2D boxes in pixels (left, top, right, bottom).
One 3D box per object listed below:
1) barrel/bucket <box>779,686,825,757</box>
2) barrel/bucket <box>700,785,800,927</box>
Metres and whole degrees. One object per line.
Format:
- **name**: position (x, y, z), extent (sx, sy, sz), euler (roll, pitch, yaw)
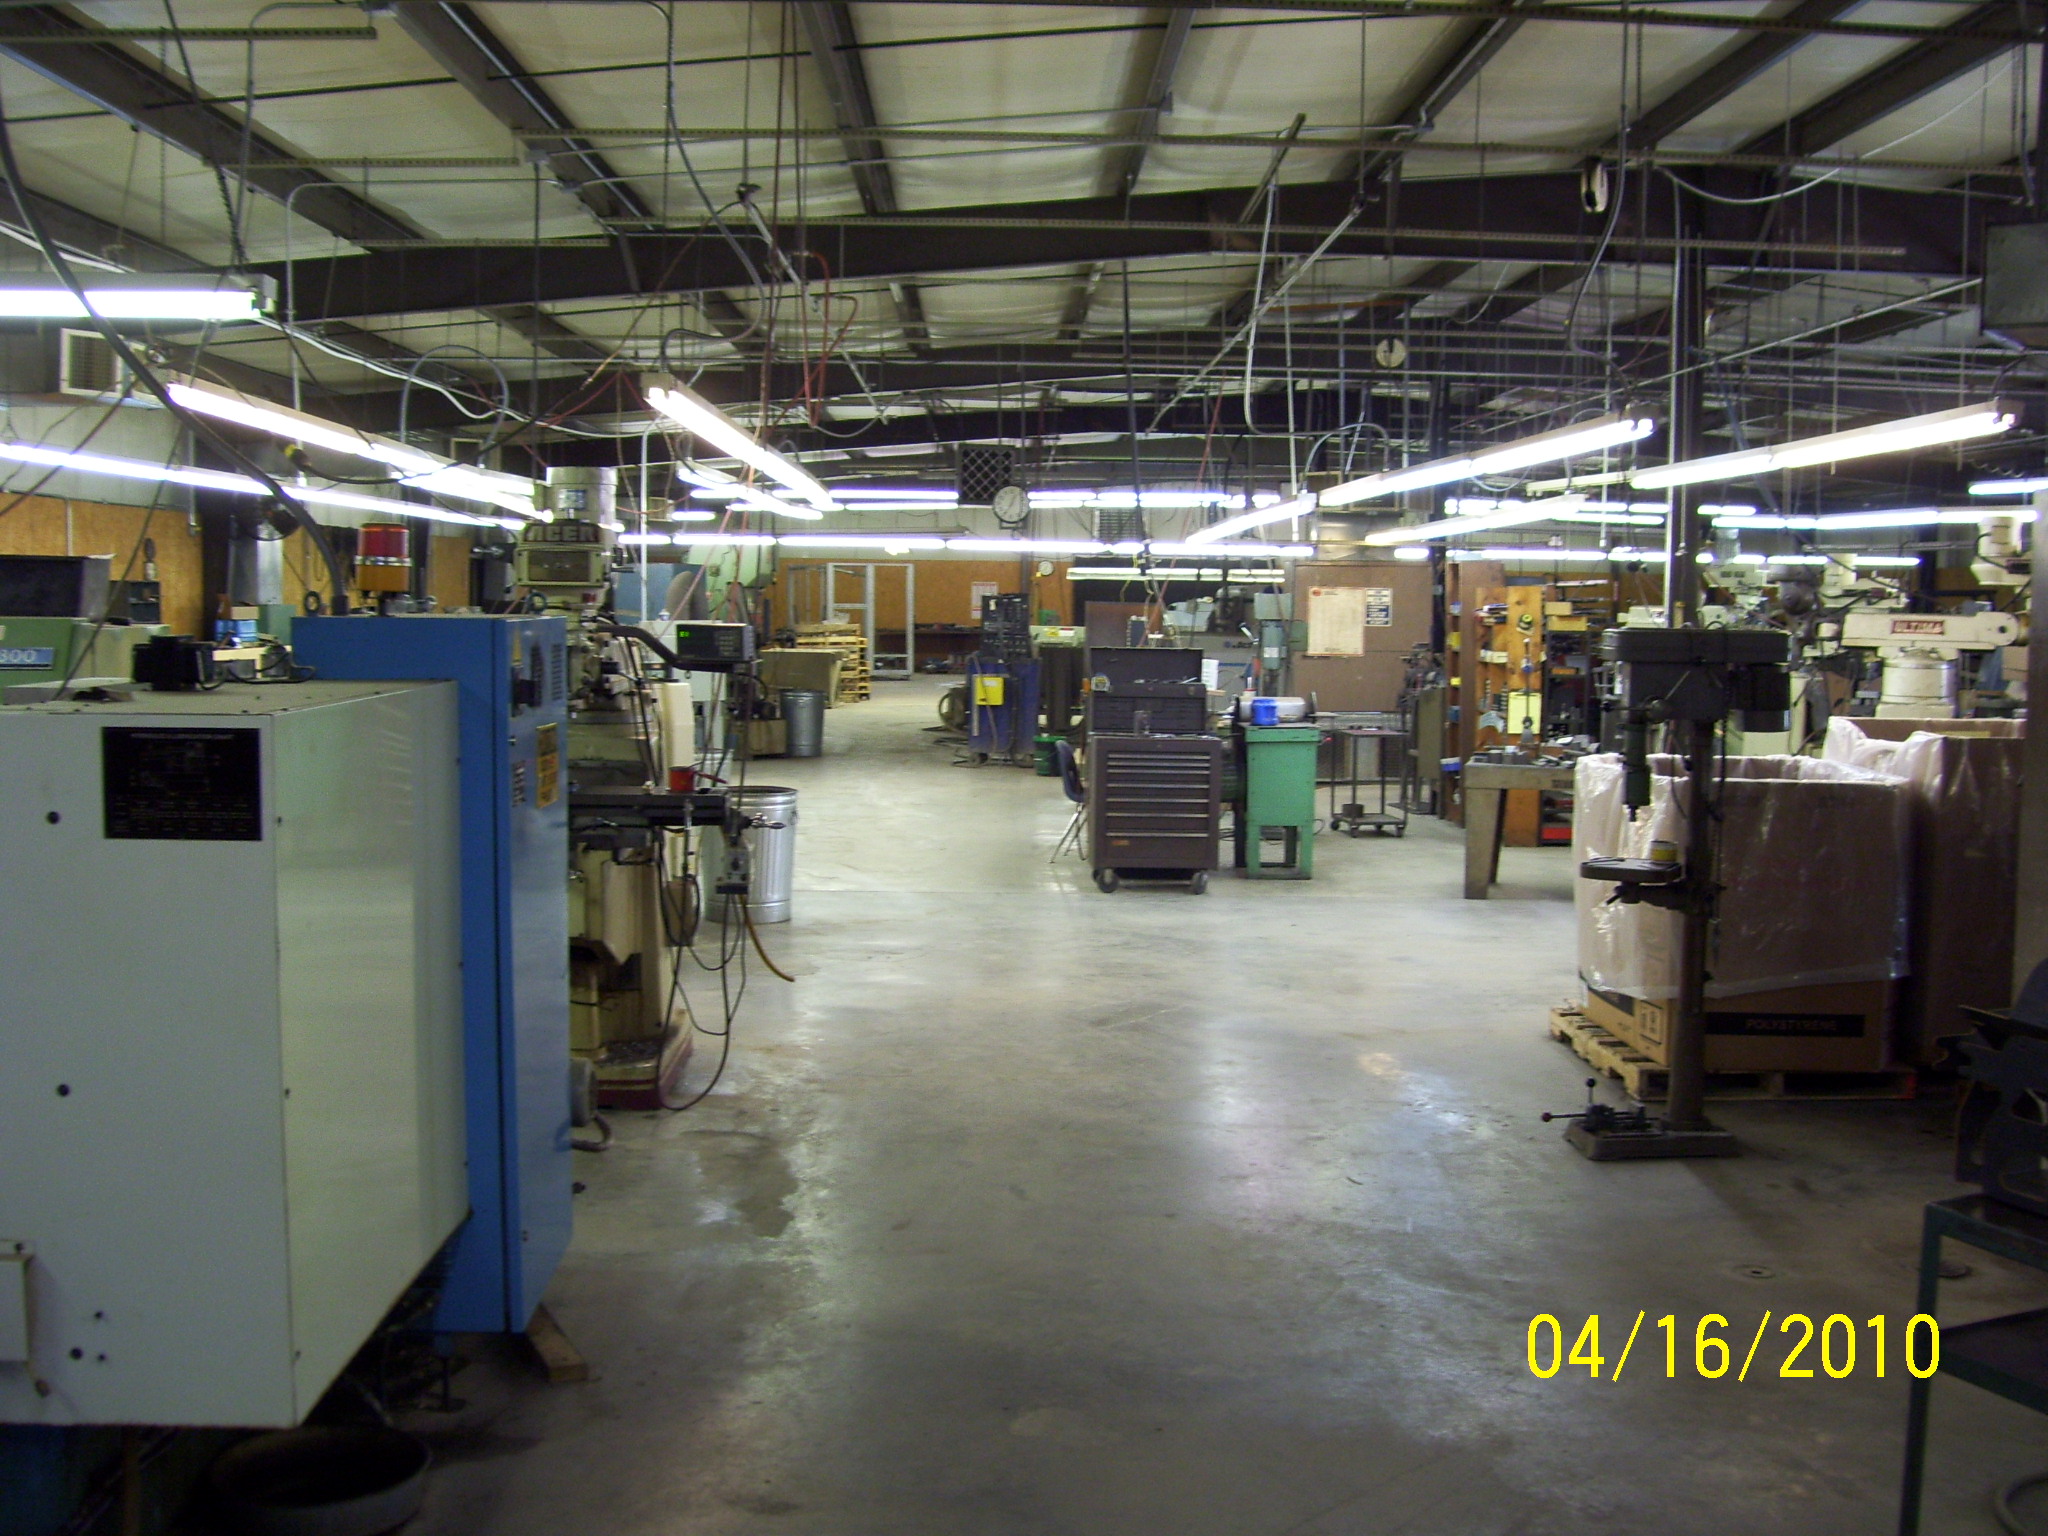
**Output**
- **barrel/bucket**: position (-2.285, -0.462, 17.538), extent (0.399, 0.682, 0.311), euler (-3, 14, -15)
- **barrel/bucket**: position (-1.465, 0.457, 9.084), extent (0.500, 0.663, 0.631), euler (0, 2, -9)
